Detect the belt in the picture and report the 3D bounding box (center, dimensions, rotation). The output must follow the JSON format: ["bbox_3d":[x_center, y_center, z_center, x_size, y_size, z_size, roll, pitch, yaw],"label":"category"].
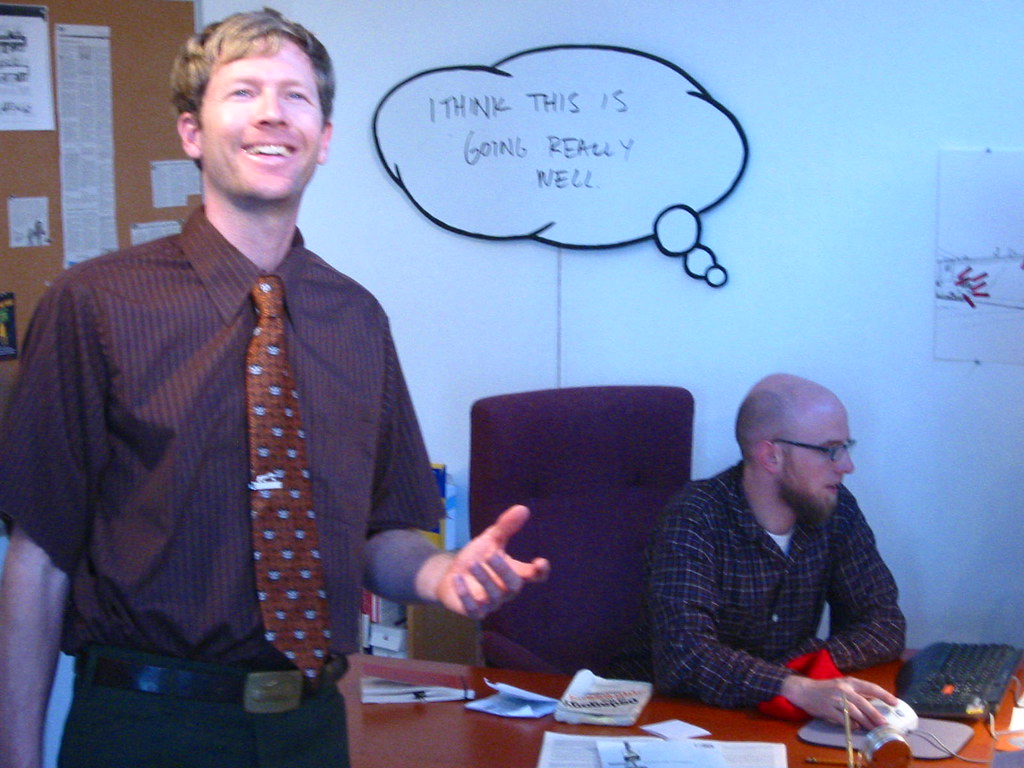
[{"bbox_3d":[-0.469,0.447,1.507,0.340,0.095,0.039,1,2,-10],"label":"belt"}]

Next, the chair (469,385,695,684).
[{"bbox_3d":[0.119,0.407,2.837,0.655,1.042,0.667,1,-6,-9],"label":"chair"}]

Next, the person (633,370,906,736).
[{"bbox_3d":[0.508,0.390,2.482,0.576,0.825,0.719,5,-11,-34],"label":"person"}]
